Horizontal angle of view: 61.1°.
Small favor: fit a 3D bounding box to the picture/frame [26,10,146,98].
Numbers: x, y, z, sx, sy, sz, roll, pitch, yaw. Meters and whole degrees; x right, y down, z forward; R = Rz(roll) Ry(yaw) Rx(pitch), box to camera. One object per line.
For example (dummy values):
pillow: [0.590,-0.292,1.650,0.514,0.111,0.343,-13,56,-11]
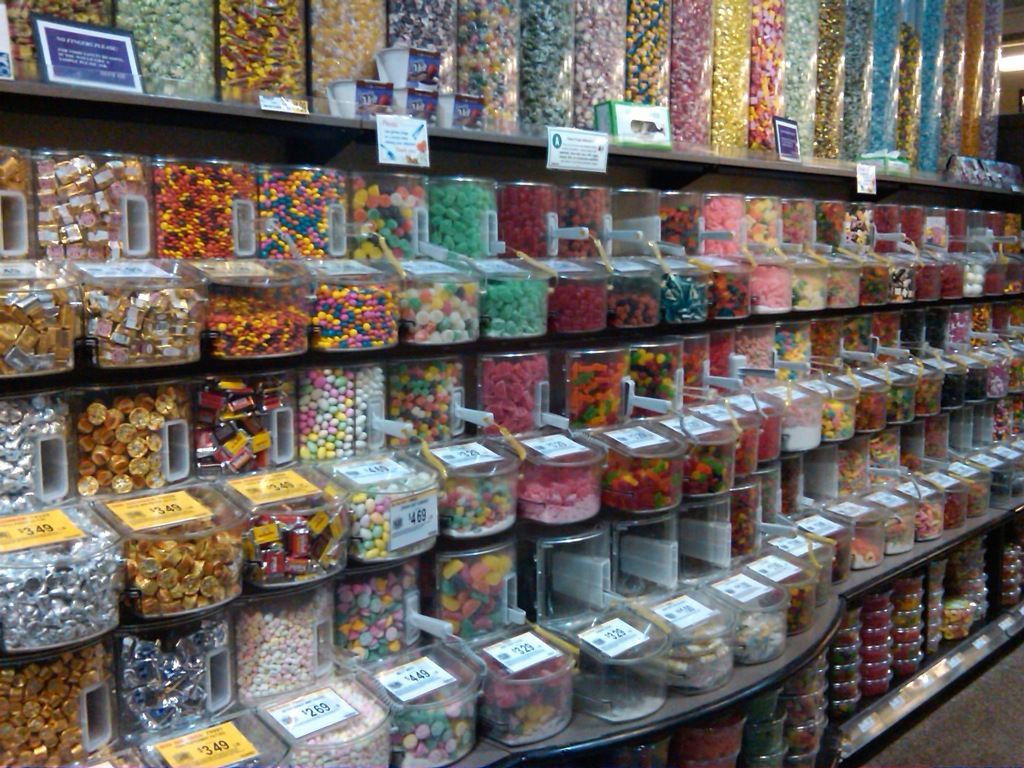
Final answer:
picture/frame: [-0.892,-0.677,1.802,0.274,0.179,0.011,0,-22,-37]
